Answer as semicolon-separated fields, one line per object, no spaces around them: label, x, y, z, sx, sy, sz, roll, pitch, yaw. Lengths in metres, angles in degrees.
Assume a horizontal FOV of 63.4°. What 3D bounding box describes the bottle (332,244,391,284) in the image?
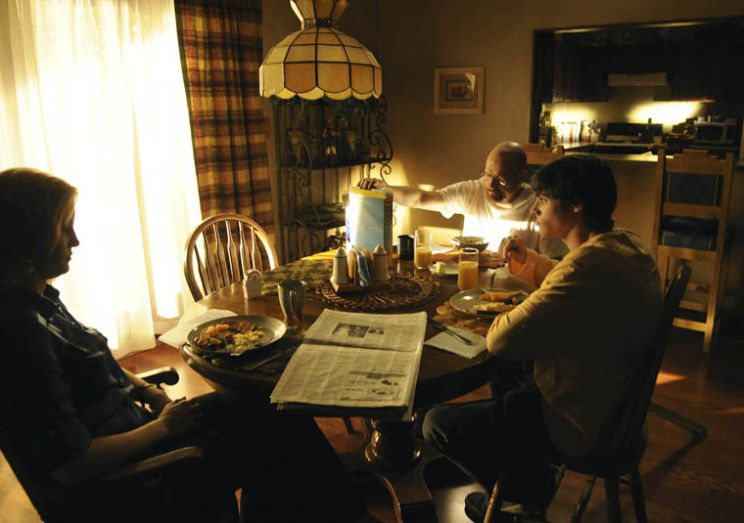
bottle;-0.051;-0.008;2.712;0.197;0.122;0.204;-1;8;0

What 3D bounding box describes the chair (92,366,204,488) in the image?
chair;-0.772;0.603;2.105;0.244;0.278;0.214;-1;9;3

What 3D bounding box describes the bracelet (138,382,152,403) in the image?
bracelet;-0.885;0.521;2.370;0.078;0.038;0.059;26;-6;25

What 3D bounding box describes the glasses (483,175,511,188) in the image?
glasses;0.716;-0.460;3.457;0.083;0.023;0.085;22;9;31

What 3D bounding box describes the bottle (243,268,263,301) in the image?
bottle;-0.536;0.113;2.710;0.058;0.151;0.118;11;16;41

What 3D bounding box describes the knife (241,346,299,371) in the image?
knife;-0.374;0.357;2.173;0.029;0.011;0.222;25;27;31

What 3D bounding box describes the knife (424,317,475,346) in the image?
knife;0.303;0.278;2.357;0.059;0.018;0.212;-24;24;-21

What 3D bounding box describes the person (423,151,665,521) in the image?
person;0.686;0.404;2.374;0.767;1.611;0.546;6;17;27
